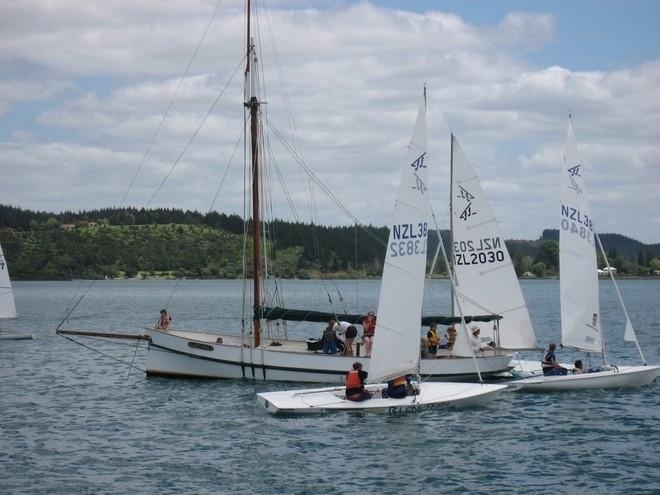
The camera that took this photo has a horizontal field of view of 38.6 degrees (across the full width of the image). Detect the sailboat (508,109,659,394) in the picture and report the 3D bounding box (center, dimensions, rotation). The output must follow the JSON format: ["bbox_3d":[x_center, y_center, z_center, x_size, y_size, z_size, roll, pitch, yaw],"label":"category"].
[{"bbox_3d":[29.525,6.125,110.526,6.099,19.025,5.111,-4,-3,-14],"label":"sailboat"}]

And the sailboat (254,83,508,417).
[{"bbox_3d":[3.765,1.647,59.774,16.753,18.217,4.737,1,9,-26],"label":"sailboat"}]
